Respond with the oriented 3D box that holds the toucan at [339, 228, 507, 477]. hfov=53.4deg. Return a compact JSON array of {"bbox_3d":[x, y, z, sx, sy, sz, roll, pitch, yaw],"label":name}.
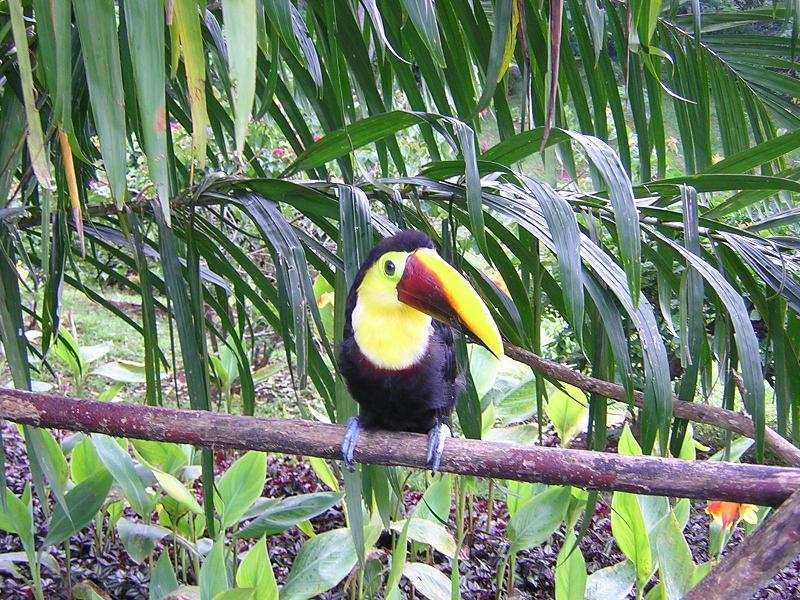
[{"bbox_3d":[0.068,0.116,1.902,0.311,0.603,0.450,-11,19,-40],"label":"toucan"}]
